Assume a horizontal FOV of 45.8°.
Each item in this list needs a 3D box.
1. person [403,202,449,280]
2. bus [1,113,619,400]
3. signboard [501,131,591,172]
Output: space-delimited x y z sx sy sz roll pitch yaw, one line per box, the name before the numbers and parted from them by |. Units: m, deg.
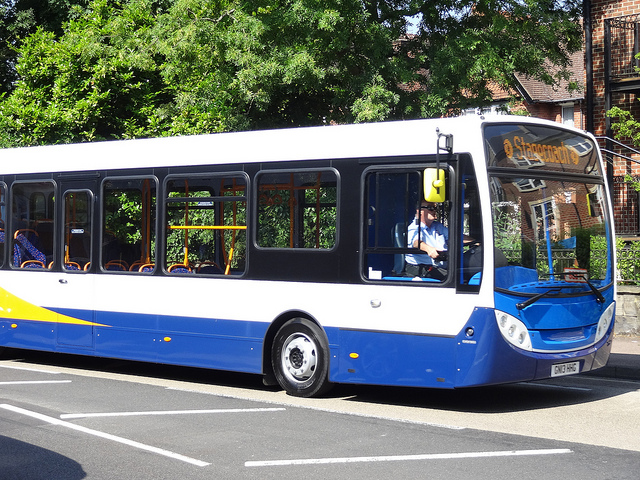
person | 1.400 0.206 9.403 0.608 1.308 0.719 3 -6 0
bus | -1.966 0.205 12.545 12.521 3.583 3.664 -1 -1 43
signboard | 3.006 -1.157 9.714 0.015 0.459 1.684 -3 10 -26
